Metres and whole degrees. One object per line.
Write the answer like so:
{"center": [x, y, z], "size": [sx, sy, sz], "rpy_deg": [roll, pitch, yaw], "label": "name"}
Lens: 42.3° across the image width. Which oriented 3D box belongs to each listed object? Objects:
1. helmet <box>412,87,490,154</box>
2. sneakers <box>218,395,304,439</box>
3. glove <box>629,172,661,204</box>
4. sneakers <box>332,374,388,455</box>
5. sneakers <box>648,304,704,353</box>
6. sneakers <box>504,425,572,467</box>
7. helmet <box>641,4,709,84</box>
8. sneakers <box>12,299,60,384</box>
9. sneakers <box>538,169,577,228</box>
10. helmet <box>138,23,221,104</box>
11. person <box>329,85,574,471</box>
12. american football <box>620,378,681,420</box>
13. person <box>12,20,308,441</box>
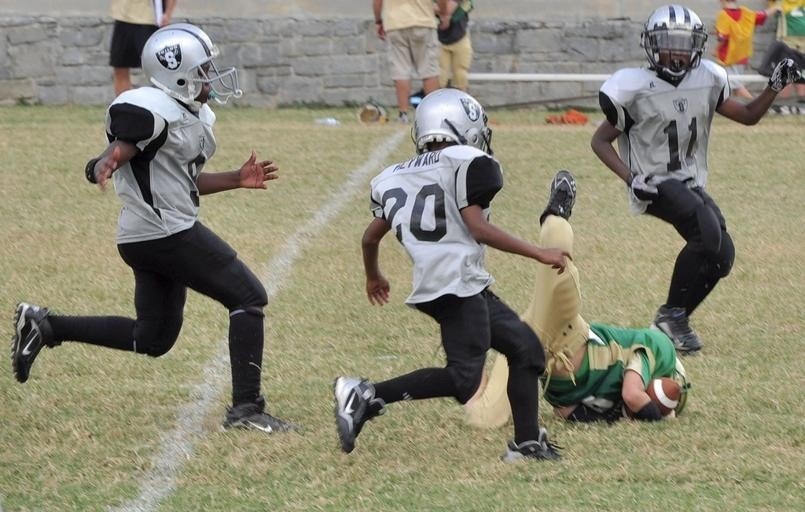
{"center": [0.318, -0.799, 6.286], "size": [0.505, 0.407, 0.372], "rpy_deg": [-9, 12, -40], "label": "helmet"}
{"center": [-0.834, 0.992, 6.315], "size": [0.541, 0.223, 0.181], "rpy_deg": [3, -7, 0], "label": "sneakers"}
{"center": [1.681, -0.455, 7.260], "size": [0.204, 0.170, 0.164], "rpy_deg": [-6, 11, -31], "label": "glove"}
{"center": [-0.254, 0.879, 5.982], "size": [0.250, 0.514, 0.182], "rpy_deg": [5, 0, -2], "label": "sneakers"}
{"center": [1.904, 0.499, 7.199], "size": [0.250, 0.147, 0.365], "rpy_deg": [-36, 47, 8], "label": "sneakers"}
{"center": [0.783, 1.120, 6.090], "size": [0.436, 0.178, 0.137], "rpy_deg": [5, 14, -21], "label": "sneakers"}
{"center": [1.797, -1.487, 7.318], "size": [0.484, 0.501, 0.524], "rpy_deg": [0, 10, 0], "label": "helmet"}
{"center": [-2.276, 0.530, 6.473], "size": [0.283, 0.535, 0.186], "rpy_deg": [7, -2, 0], "label": "sneakers"}
{"center": [0.960, -0.362, 6.241], "size": [0.149, 0.407, 0.167], "rpy_deg": [15, 12, 10], "label": "sneakers"}
{"center": [-1.349, -1.211, 6.429], "size": [0.529, 0.441, 0.398], "rpy_deg": [2, 25, 3], "label": "helmet"}
{"center": [0.309, 0.100, 6.095], "size": [1.321, 2.064, 0.922], "rpy_deg": [3, 14, 8], "label": "person"}
{"center": [1.519, 0.857, 6.297], "size": [0.210, 0.201, 0.233], "rpy_deg": [10, 45, 37], "label": "american football"}
{"center": [-1.461, -0.163, 6.268], "size": [1.552, 2.366, 0.764], "rpy_deg": [-1, 14, -7], "label": "person"}
